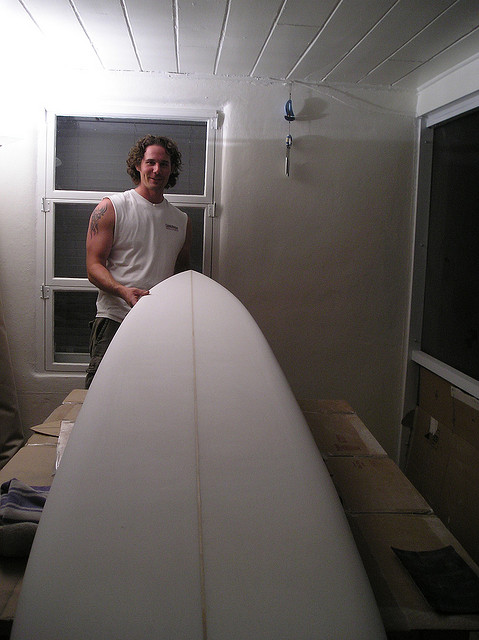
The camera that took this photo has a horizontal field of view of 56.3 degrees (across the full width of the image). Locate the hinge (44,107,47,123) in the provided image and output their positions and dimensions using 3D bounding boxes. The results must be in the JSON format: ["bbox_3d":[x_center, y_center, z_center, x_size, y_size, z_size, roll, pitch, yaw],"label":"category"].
[{"bbox_3d":[-0.862,-0.912,1.995,0.008,0.056,0.002,-3,8,0],"label":"hinge"}]

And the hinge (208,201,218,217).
[{"bbox_3d":[-0.123,-0.515,2.100,0.052,0.082,0.054,1,6,6],"label":"hinge"}]

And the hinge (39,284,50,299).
[{"bbox_3d":[-0.918,-0.130,2.118,0.055,0.084,0.056,2,4,-9],"label":"hinge"}]

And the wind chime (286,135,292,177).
[{"bbox_3d":[0.232,-0.764,2.085,0.029,0.180,0.024,-2,8,8],"label":"wind chime"}]
